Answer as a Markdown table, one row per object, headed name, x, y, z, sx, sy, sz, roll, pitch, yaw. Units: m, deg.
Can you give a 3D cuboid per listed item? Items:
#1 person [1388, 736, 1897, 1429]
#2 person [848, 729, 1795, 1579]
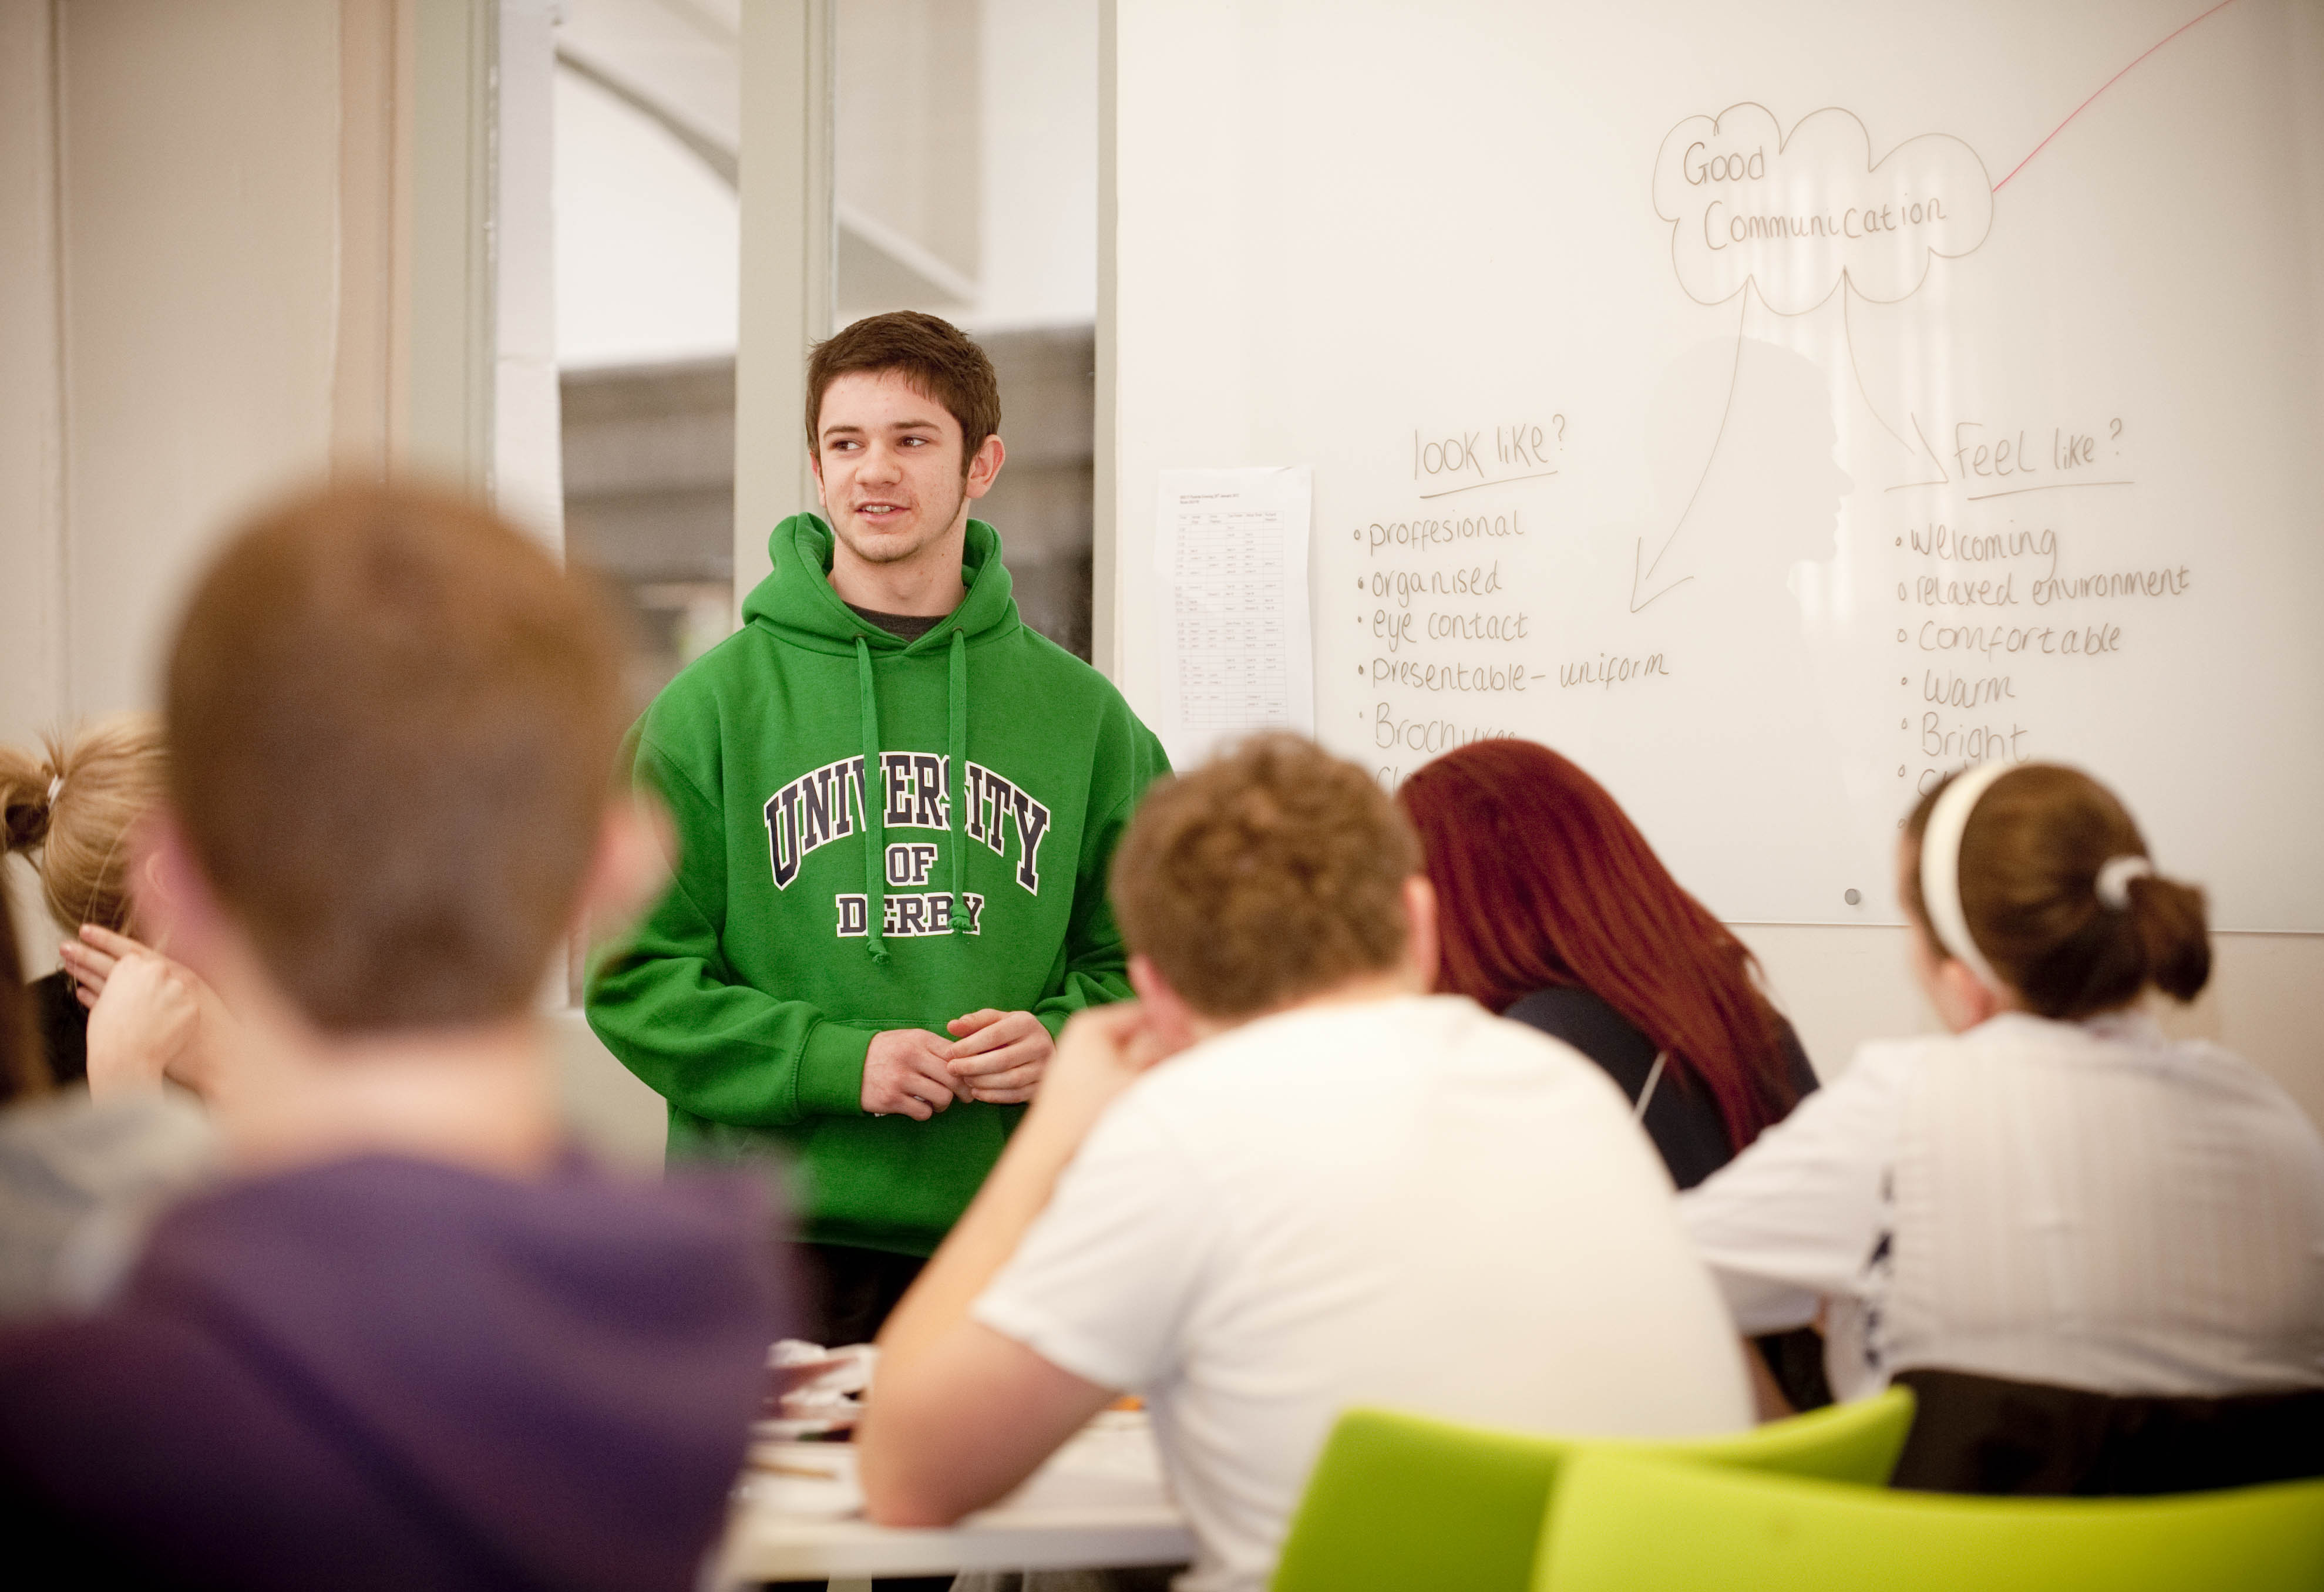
| name | x | y | z | sx | sy | sz | roll | pitch | yaw |
| --- | --- | --- | --- | --- | --- | --- | --- | --- | --- |
| person | 0.603 | 0.417 | 2.459 | 0.440 | 1.218 | 0.428 | -4 | 33 | 13 |
| person | 0.130 | 0.341 | 1.565 | 0.787 | 0.777 | 0.295 | 2 | 6 | 19 |
